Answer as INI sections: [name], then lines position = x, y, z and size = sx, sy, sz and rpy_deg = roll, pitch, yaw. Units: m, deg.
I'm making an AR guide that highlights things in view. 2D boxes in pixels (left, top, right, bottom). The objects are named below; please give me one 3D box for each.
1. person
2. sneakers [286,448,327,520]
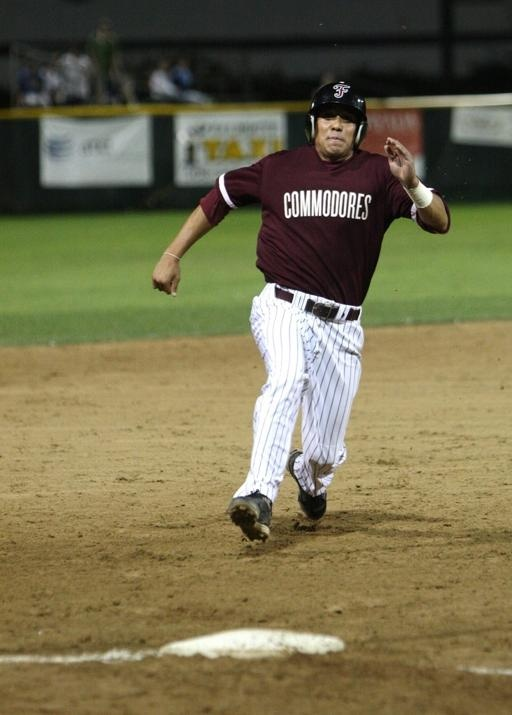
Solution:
[person]
position = 0.191, -0.127, 4.128
size = 0.902, 1.746, 0.897
rpy_deg = -7, 12, -30
[sneakers]
position = 0.206, 0.539, 4.507
size = 0.115, 0.321, 0.139
rpy_deg = -11, -10, -15
